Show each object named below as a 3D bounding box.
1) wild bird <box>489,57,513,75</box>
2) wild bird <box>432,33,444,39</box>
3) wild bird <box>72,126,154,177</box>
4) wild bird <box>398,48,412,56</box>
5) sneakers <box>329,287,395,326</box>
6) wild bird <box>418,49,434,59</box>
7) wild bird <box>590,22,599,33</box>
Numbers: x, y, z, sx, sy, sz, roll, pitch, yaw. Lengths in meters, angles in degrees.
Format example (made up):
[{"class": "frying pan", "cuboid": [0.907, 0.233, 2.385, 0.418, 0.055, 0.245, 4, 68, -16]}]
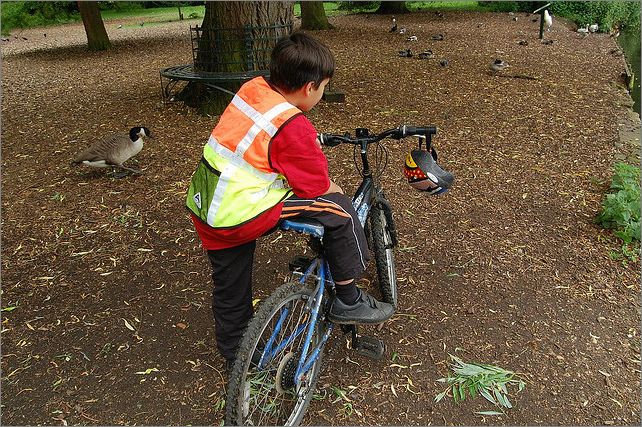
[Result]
[{"class": "wild bird", "cuboid": [4.450, -3.576, 12.731, 0.456, 0.493, 0.254, 21, 13, 27]}, {"class": "wild bird", "cuboid": [4.060, -6.046, 17.674, 0.388, 0.174, 0.713, 6, 30, 11]}, {"class": "wild bird", "cuboid": [-3.344, -1.021, 8.201, 1.271, 0.797, 0.533, -7, 22, -45]}, {"class": "wild bird", "cuboid": [2.488, -4.643, 14.965, 0.428, 0.178, 0.598, 4, 30, 8]}, {"class": "sneakers", "cuboid": [0.400, 0.980, 5.321, 0.659, 0.301, 0.295, -3, 13, -20]}, {"class": "wild bird", "cuboid": [2.998, -4.449, 14.551, 0.314, 0.340, 0.505, 8, 18, 30]}, {"class": "wild bird", "cuboid": [10.996, -7.293, 20.462, 0.417, 0.314, 0.566, 5, 32, 21]}]
